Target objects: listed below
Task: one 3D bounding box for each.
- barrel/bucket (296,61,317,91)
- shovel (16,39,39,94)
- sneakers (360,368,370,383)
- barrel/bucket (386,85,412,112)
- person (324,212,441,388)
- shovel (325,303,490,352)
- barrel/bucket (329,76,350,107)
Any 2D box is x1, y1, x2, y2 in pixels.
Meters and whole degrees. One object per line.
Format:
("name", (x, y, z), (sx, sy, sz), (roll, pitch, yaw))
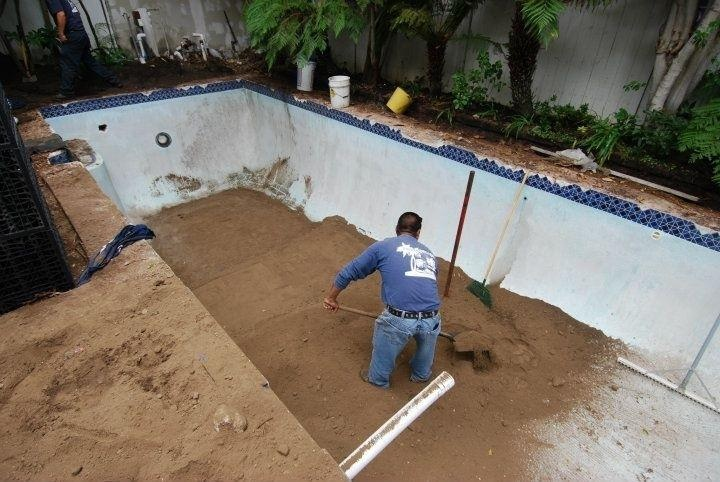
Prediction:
("barrel/bucket", (-1.095, -3.329, 8.112), (0.387, 0.563, 0.363), (2, 30, -1))
("shovel", (-7.040, -3.859, 8.569), (0.260, 0.810, 0.315), (22, 27, -13))
("sneakers", (0.054, 1.699, 4.942), (0.078, 0.065, 0.146), (-14, 51, -12))
("barrel/bucket", (0.668, -2.485, 7.159), (0.457, 0.422, 0.286), (8, 30, 10))
("person", (0.362, 0.750, 4.784), (1.335, 2.109, 1.045), (-1, 14, -22))
("shovel", (0.729, 1.260, 5.258), (1.777, 0.135, 0.748), (17, 17, 7))
("barrel/bucket", (-0.349, -2.687, 7.312), (0.509, 0.537, 0.500), (-1, 34, 0))
